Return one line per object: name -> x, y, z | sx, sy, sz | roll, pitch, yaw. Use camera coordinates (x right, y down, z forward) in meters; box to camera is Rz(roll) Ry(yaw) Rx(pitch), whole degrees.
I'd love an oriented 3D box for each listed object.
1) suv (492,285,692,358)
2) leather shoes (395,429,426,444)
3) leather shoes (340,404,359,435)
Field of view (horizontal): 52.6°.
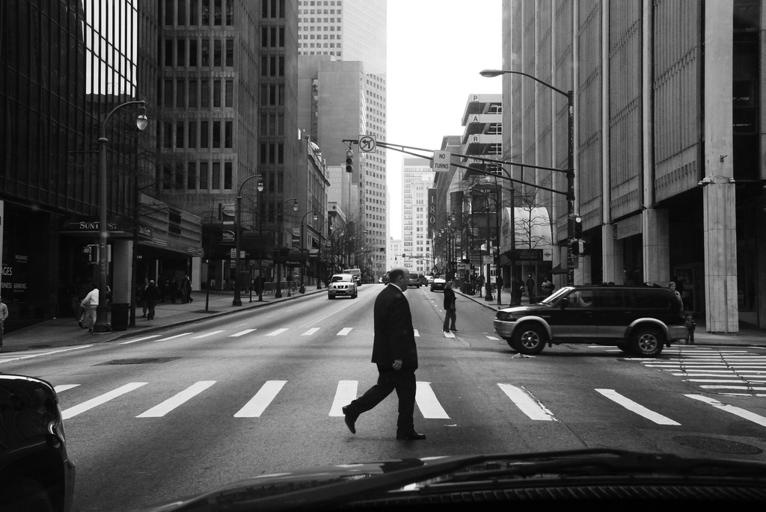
suv -> 6.805, 2.043, 25.846 | 5.090, 2.006, 2.641 | 2, -5, 2
leather shoes -> 0.497, 3.298, 14.367 | 0.593, 0.290, 0.208 | -2, 2, -5
leather shoes -> -0.619, 3.053, 14.640 | 0.273, 0.695, 0.224 | -13, 15, -10
